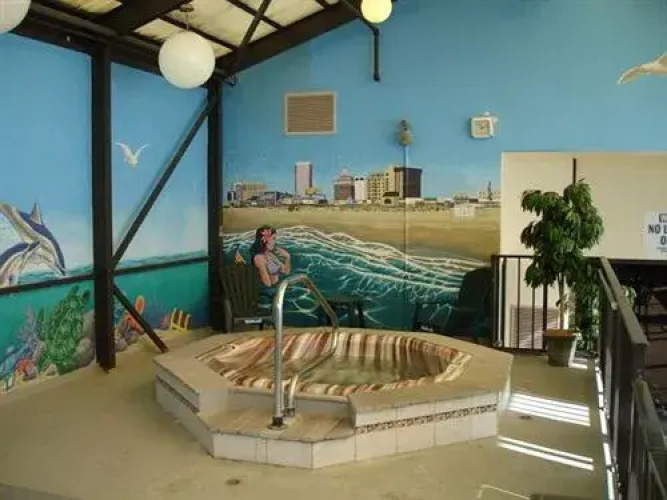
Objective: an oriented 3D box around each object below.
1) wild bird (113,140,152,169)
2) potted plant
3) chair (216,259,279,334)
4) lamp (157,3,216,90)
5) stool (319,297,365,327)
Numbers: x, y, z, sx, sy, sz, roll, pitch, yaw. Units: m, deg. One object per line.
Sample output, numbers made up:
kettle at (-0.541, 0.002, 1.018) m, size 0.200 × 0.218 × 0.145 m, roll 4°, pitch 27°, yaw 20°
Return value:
wild bird at (-2.803, -1.240, 6.269) m, size 0.230 × 0.244 × 0.487 m, roll -2°, pitch 1°, yaw 33°
potted plant at (2.911, 0.324, 5.842) m, size 0.951 × 2.403 × 0.482 m, roll 0°, pitch 5°, yaw 1°
chair at (-1.338, 0.755, 7.151) m, size 0.738 × 1.280 × 0.781 m, roll -1°, pitch 2°, yaw -23°
lamp at (-1.596, -2.118, 4.944) m, size 0.542 × 0.571 × 0.289 m, roll -2°, pitch 5°, yaw -23°
stool at (0.139, 0.979, 7.355) m, size 0.554 × 0.552 × 0.576 m, roll -1°, pitch -1°, yaw 23°
